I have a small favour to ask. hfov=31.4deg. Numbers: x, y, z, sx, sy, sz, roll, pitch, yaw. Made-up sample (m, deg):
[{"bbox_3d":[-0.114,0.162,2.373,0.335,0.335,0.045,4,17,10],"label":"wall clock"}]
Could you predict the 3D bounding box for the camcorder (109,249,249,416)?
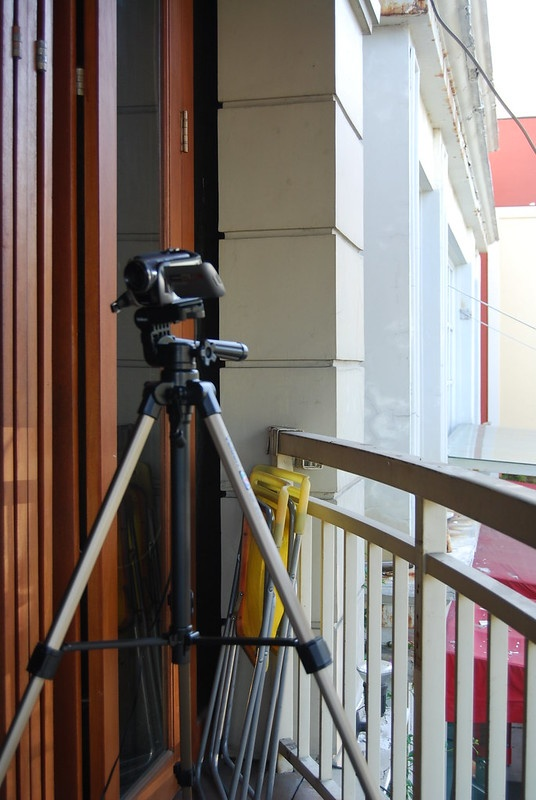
[{"bbox_3d":[-0.171,-0.150,1.774,0.194,0.301,0.356,-2,-70,3],"label":"camcorder"}]
